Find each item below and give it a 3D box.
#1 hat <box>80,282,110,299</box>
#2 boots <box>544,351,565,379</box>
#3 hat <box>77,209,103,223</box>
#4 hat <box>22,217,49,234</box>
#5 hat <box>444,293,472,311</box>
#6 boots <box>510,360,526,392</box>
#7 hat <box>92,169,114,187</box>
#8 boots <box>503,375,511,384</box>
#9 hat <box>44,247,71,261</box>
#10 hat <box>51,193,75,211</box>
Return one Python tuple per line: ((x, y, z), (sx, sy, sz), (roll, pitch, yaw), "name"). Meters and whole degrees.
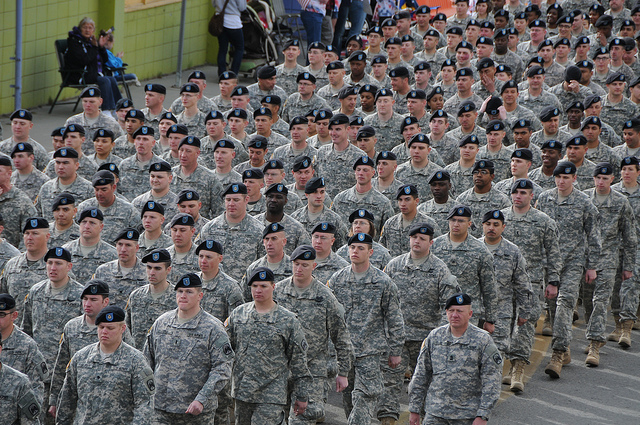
((-3.016, 1.090, 17.727), (0.303, 0.135, 0.237), (-3, -1, 14), "hat")
((3.695, 2.445, 20.581), (0.206, 0.270, 0.617), (18, 13, 17), "boots")
((-3.393, 0.066, 19.468), (0.333, 0.217, 0.322), (-1, 0, -14), "hat")
((-4.132, 0.199, 19.160), (0.345, 0.230, 0.203), (-1, 0, -14), "hat")
((1.865, 1.251, 17.718), (0.346, 0.154, 0.421), (-2, -7, 7), "hat")
((3.064, 2.531, 20.259), (0.206, 0.360, 0.558), (11, 25, 6), "boots")
((-3.364, -0.515, 20.497), (0.339, 0.257, 0.302), (-1, 0, -9), "hat")
((2.906, 2.670, 20.462), (0.128, 0.132, 0.214), (-1, 0, 6), "boots")
((-3.672, 0.623, 18.415), (0.356, 0.224, 0.207), (-1, 0, -15), "hat")
((-3.905, -0.130, 20.001), (0.322, 0.287, 0.236), (-1, 0, -12), "hat")
